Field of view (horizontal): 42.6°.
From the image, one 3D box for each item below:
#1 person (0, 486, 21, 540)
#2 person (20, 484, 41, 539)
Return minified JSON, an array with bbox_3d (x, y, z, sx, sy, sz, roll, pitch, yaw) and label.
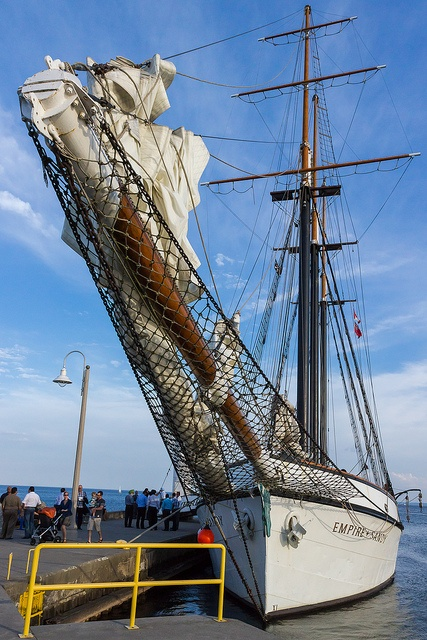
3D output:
[{"bbox_3d":[-4.881,4.615,13.129,0.417,1.182,1.254,6,-20,-18],"label":"person"},{"bbox_3d":[-4.675,4.802,13.743,0.365,1.201,0.462,-21,-30,25],"label":"person"}]
